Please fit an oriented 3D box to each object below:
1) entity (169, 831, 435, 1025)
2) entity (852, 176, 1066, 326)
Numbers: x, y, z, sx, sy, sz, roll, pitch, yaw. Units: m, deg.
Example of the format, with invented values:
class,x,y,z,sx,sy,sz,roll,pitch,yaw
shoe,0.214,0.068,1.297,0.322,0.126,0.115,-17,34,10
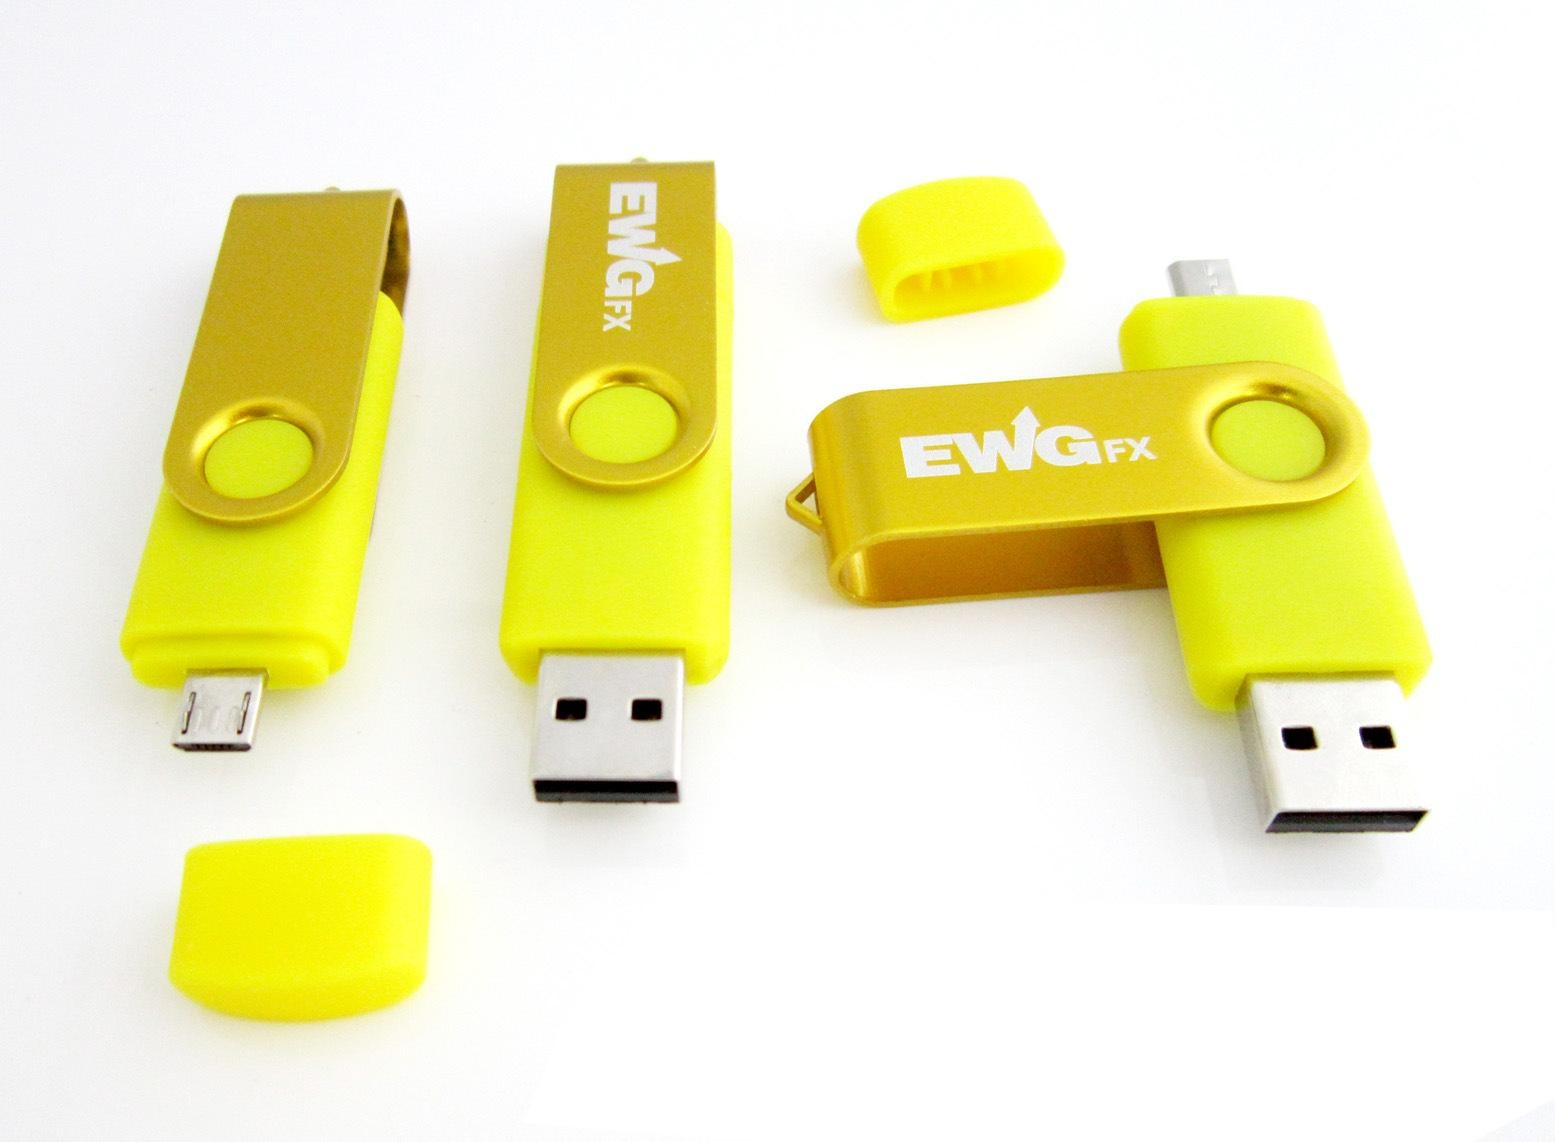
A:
class,x,y,z,sx,sy,sz,roll,pitch,yaw
entity,-0.453,0.337,1.357,0.228,0.086,0.149,0,59,-3
entity,0.216,-0.389,1.729,0.224,0.097,0.143,-12,60,-10
